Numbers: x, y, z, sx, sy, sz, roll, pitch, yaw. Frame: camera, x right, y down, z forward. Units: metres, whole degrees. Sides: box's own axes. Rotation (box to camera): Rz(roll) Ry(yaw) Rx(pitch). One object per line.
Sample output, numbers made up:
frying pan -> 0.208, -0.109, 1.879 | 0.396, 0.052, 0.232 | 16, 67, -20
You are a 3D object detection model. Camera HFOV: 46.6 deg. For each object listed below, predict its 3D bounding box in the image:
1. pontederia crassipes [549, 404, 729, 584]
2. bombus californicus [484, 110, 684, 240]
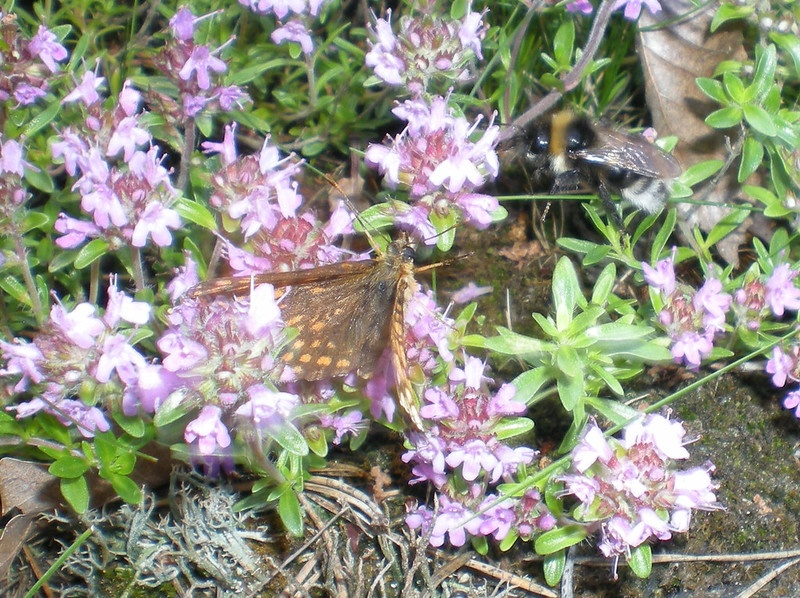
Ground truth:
pontederia crassipes -> 1.147, 0.898, 4.590 | 0.650, 0.357, 0.615 | -24, 70, -14
bombus californicus -> 1.177, -0.844, 5.583 | 0.880, 0.328, 0.708 | 24, 73, 18
